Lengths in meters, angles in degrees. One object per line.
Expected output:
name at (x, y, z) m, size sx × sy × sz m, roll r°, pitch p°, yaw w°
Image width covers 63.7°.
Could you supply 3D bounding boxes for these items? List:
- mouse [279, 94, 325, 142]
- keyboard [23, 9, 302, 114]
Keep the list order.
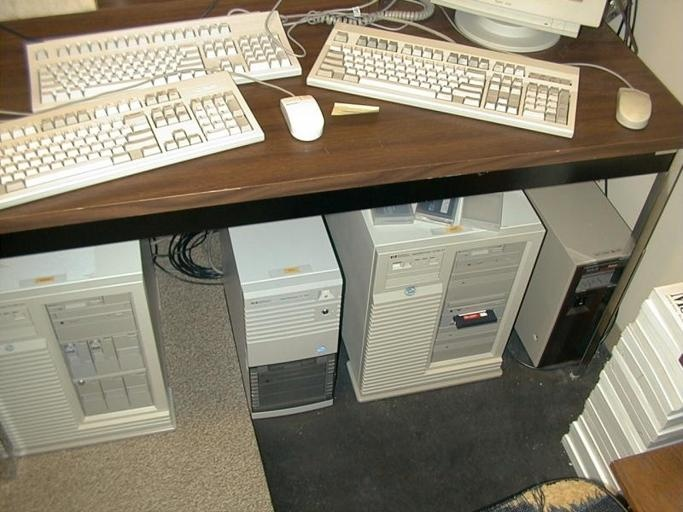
mouse at (-0.092, -0.337, 1.309) m, size 0.084 × 0.034 × 0.133 m, roll -17°, pitch 60°, yaw -19°
keyboard at (-0.528, -0.493, 1.431) m, size 0.695 × 0.263 × 0.056 m, roll 7°, pitch 13°, yaw 18°
